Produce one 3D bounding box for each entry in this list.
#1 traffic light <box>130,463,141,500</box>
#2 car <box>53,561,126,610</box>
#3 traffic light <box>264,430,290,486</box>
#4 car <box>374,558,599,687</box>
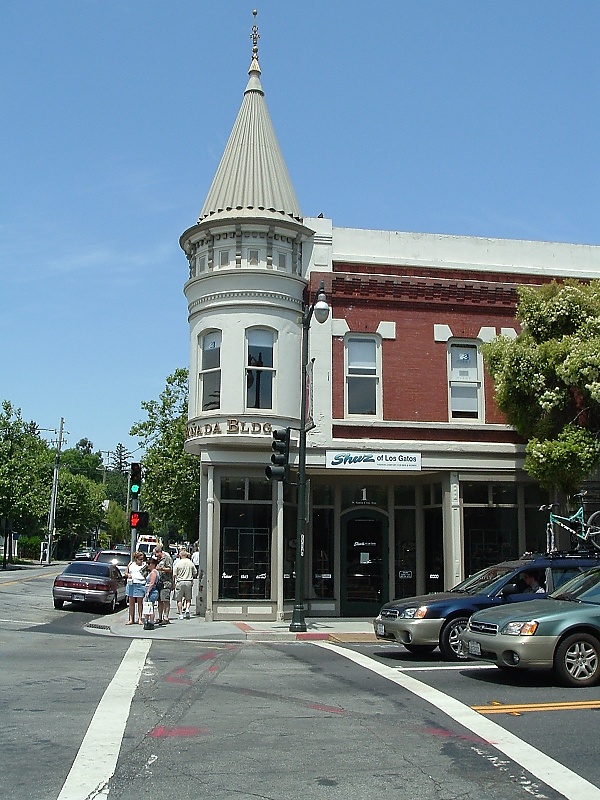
[{"bbox_3d":[-3.882,1.895,20.984,0.229,0.808,1.152,3,-11,-12],"label":"traffic light"},{"bbox_3d":[-5.623,4.974,23.650,1.440,1.284,2.062,0,-11,1],"label":"car"},{"bbox_3d":[-0.453,1.097,17.555,0.539,1.080,0.413,4,-12,-18],"label":"traffic light"},{"bbox_3d":[2.895,2.951,12.733,3.404,1.489,3.372,1,-11,-6],"label":"car"}]
